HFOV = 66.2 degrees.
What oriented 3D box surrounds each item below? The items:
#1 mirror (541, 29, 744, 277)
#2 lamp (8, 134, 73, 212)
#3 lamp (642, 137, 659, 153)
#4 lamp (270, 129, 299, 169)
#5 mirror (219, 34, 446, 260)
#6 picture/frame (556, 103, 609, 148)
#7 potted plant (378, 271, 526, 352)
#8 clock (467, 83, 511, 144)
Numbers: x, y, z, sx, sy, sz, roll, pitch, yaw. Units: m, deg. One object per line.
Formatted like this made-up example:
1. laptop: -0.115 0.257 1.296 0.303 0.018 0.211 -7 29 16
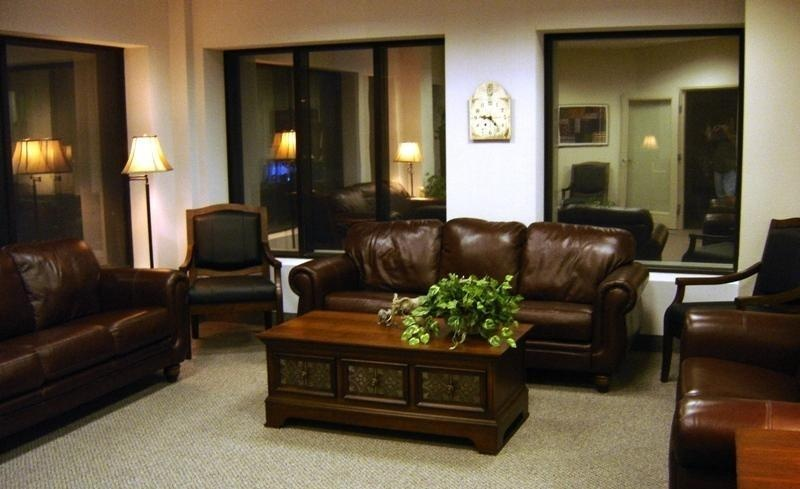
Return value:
1. mirror: 2.565 -0.969 6.260 2.691 3.063 0.253 1 8 15
2. lamp: -3.815 -0.794 6.539 0.561 0.548 0.527 8 10 28
3. lamp: 2.587 -1.048 6.334 0.148 0.095 0.128 1 5 11
4. lamp: -1.344 -1.182 7.295 0.279 0.275 0.253 -8 26 -23
5. mirror: -0.674 -1.136 6.985 2.809 2.201 0.218 -1 5 8
6. picture/frame: 1.960 -1.275 6.484 0.526 0.394 0.041 1 5 15
7. potted plant: 0.394 0.493 4.689 0.788 0.299 0.760 2 1 33
8. clock: 0.950 -1.383 6.399 0.435 0.614 0.126 -1 11 2
